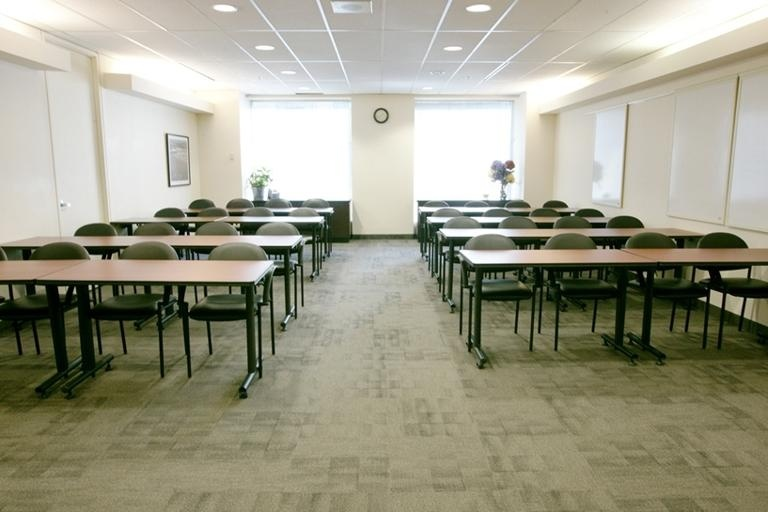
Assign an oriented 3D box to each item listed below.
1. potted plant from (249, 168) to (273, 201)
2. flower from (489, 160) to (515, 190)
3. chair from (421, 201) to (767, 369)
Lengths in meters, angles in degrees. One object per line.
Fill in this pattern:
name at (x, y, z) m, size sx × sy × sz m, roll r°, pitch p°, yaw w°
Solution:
potted plant at (-2.521, -1.489, 11.430) m, size 0.457 × 0.672 × 0.563 m, roll -4°, pitch 9°, yaw -4°
flower at (2.327, -1.674, 11.116) m, size 0.528 × 0.394 × 0.593 m, roll 0°, pitch 19°, yaw 9°
chair at (2.449, 0.316, 6.431) m, size 3.305 × 1.220 × 2.118 m, roll -2°, pitch 8°, yaw -3°
